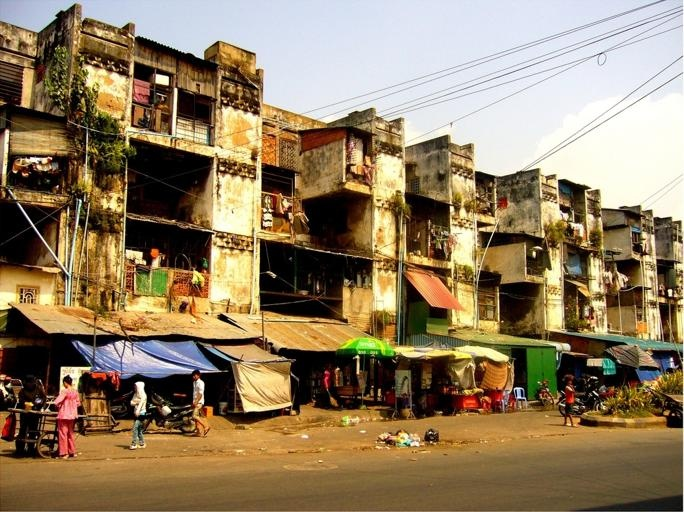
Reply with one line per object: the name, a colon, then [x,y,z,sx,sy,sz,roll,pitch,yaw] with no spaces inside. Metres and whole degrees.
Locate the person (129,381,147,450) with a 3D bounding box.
person: [-5.644,4.433,22.738,0.429,1.732,1.079,1,-3,-13]

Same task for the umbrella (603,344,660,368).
umbrella: [12.116,4.238,34.225,1.265,0.579,1.271,10,-4,-37]

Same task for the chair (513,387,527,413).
chair: [8.005,6.515,36.778,0.607,1.192,0.794,0,-14,-1]

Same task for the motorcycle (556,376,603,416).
motorcycle: [9.359,5.513,31.970,1.876,1.479,0.970,-3,4,13]

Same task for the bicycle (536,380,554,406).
bicycle: [9.481,6.384,37.938,0.759,1.084,0.964,0,-3,15]

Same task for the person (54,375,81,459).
person: [-6.983,4.076,20.738,0.615,2.050,0.489,3,-3,-43]

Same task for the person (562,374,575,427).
person: [8.036,5.086,28.843,0.343,1.687,1.369,0,-3,15]

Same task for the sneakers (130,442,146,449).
sneakers: [-5.557,5.199,22.368,0.392,0.183,0.144,9,-11,-16]
